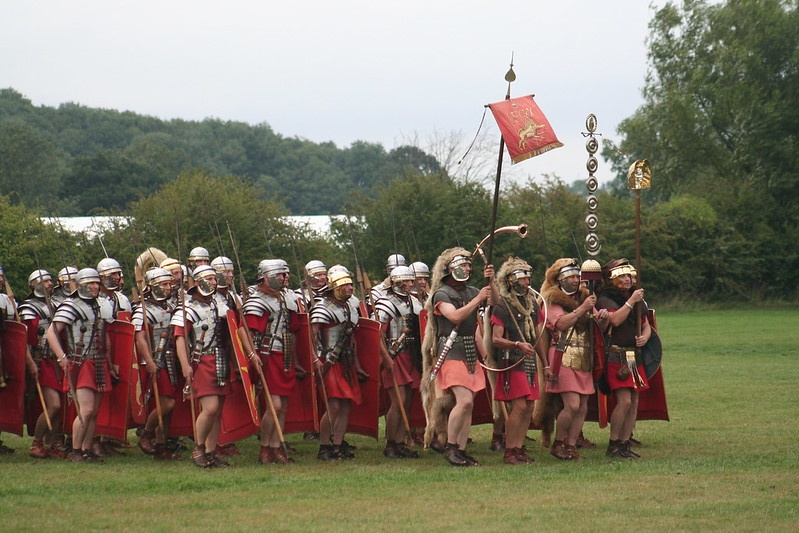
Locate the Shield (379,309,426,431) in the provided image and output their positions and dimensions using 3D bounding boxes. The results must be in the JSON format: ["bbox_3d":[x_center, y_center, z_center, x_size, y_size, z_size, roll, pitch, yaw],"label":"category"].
[{"bbox_3d":[-0.166,3.257,41.102,0.483,4.127,0.202,-14,4,16],"label":"Shield"}]
